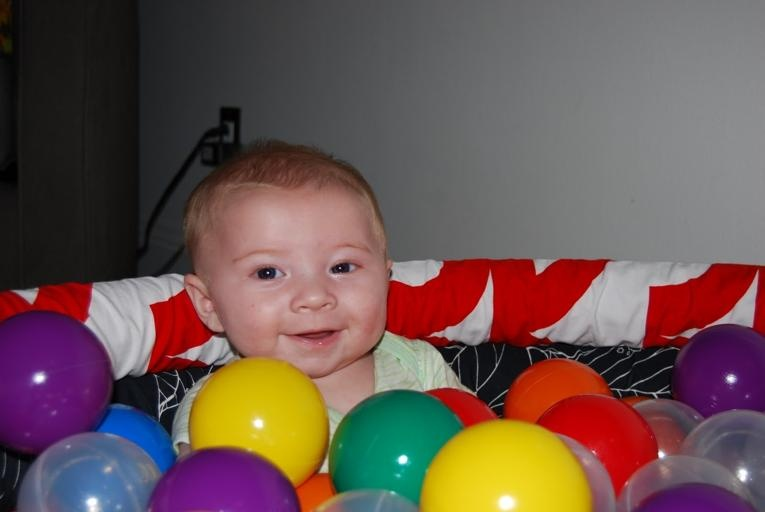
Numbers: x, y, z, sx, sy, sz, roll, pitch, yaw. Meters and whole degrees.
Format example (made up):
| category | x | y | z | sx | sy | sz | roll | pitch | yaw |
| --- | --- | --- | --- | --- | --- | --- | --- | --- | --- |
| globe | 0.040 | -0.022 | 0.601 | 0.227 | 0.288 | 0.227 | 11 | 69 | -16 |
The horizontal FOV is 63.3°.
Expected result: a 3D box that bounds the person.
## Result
| category | x | y | z | sx | sy | sz | roll | pitch | yaw |
| --- | --- | --- | --- | --- | --- | --- | --- | --- | --- |
| person | -0.174 | 0.149 | 1.744 | 0.864 | 0.912 | 0.579 | -7 | 6 | -16 |
